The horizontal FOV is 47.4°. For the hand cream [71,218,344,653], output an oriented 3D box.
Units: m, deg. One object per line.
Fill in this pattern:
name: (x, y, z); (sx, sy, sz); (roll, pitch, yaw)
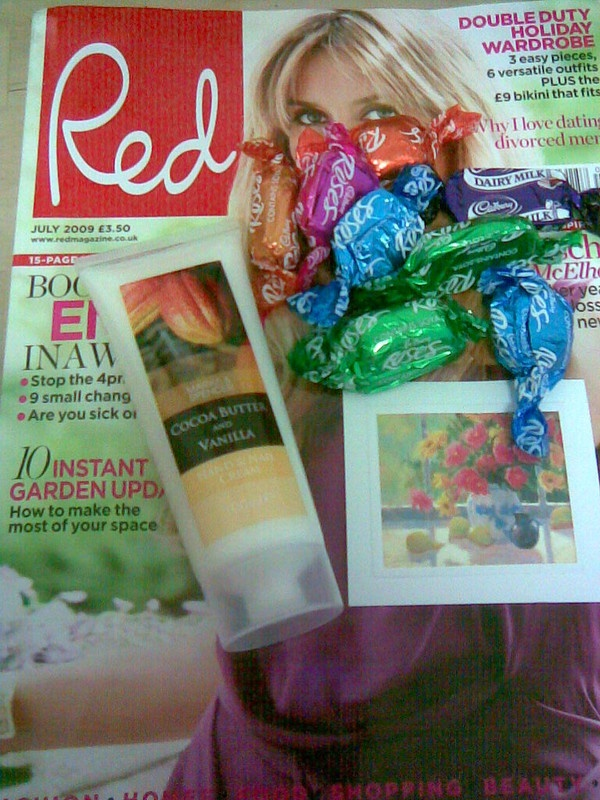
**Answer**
hand cream: (-0.046, 0.015, 0.456); (0.114, 0.241, 0.120); (-21, 9, -11)
